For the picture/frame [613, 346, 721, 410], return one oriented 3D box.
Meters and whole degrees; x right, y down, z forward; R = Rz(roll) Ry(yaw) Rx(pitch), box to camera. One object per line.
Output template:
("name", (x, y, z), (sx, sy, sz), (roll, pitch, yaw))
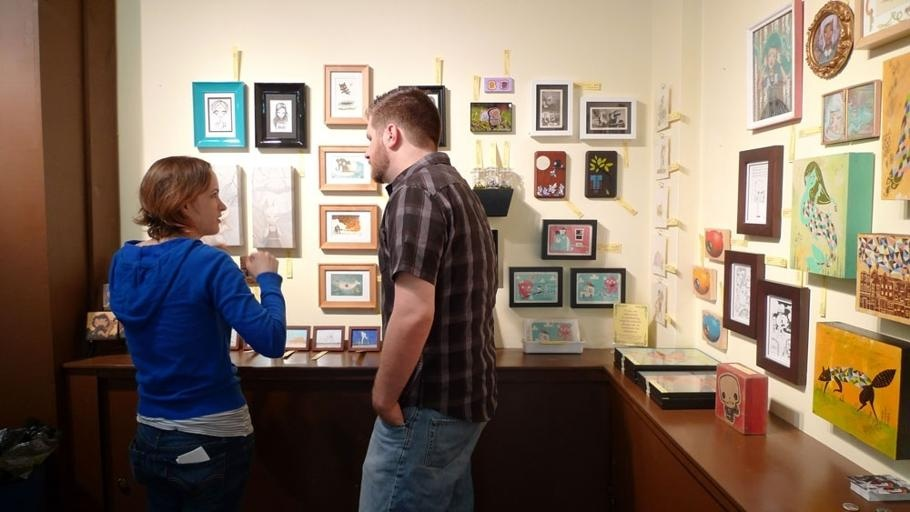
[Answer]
("picture/frame", (1.352, 0.740, 4.012), (0.529, 0.209, 0.642), (-2, 8, -5))
